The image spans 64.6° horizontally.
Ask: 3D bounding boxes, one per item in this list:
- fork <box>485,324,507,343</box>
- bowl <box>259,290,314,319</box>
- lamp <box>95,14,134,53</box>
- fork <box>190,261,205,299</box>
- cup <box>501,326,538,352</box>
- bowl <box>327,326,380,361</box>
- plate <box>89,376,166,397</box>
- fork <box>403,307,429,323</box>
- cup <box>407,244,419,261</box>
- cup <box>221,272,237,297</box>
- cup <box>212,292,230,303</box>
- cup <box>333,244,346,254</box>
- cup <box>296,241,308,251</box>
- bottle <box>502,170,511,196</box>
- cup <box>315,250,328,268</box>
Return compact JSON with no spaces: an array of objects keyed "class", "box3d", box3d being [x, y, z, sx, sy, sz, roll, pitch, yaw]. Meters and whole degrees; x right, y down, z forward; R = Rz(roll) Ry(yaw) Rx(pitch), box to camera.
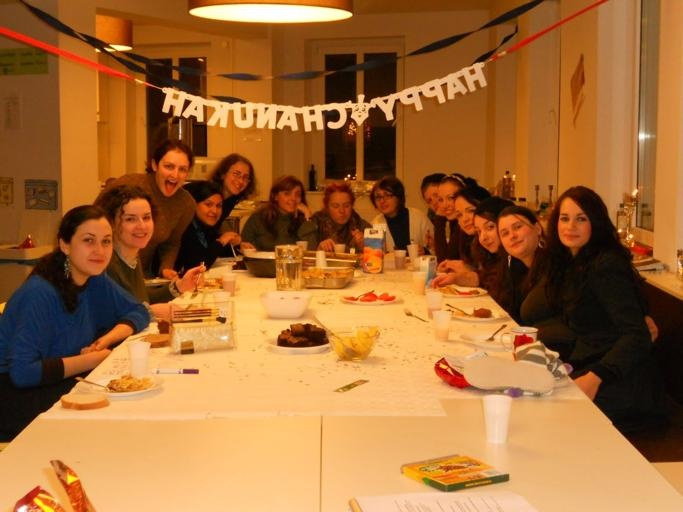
[{"class":"fork","box3d":[0.609,0.278,2.109,0.042,0.033,0.299,26,16,22]},{"class":"bowl","box3d":[-0.238,0.206,2.284,0.159,0.068,0.131,-1,1,2]},{"class":"lamp","box3d":[-2.701,-2.614,6.360,0.592,0.288,0.577,-11,16,-39]},{"class":"fork","box3d":[-0.746,0.126,2.876,0.048,0.200,0.051,16,-19,-4]},{"class":"cup","box3d":[0.593,0.287,1.819,0.118,0.083,0.077,-6,7,10]},{"class":"bowl","box3d":[0.031,0.284,1.812,0.130,0.060,0.127,-2,1,0]},{"class":"plate","box3d":[-0.611,0.361,1.508,0.121,0.013,0.079,1,3,16]},{"class":"fork","box3d":[0.328,0.264,2.379,0.029,0.022,0.199,-17,16,-14]},{"class":"cup","box3d":[0.524,-0.024,3.962,0.102,0.104,0.099,0,-11,0]},{"class":"cup","box3d":[-0.562,0.144,2.690,0.094,0.107,0.093,-3,13,1]},{"class":"cup","box3d":[-0.485,0.164,2.197,0.050,0.040,0.053,0,-3,0]},{"class":"cup","box3d":[-0.014,-0.054,3.998,0.076,0.052,0.068,-2,9,-7]},{"class":"cup","box3d":[-0.274,-0.077,3.845,0.096,0.073,0.099,0,10,0]},{"class":"bottle","box3d":[1.750,-0.746,5.680,0.099,0.250,0.239,3,9,19]},{"class":"cup","box3d":[-0.124,0.023,3.385,0.075,0.112,0.104,0,6,-2]}]
